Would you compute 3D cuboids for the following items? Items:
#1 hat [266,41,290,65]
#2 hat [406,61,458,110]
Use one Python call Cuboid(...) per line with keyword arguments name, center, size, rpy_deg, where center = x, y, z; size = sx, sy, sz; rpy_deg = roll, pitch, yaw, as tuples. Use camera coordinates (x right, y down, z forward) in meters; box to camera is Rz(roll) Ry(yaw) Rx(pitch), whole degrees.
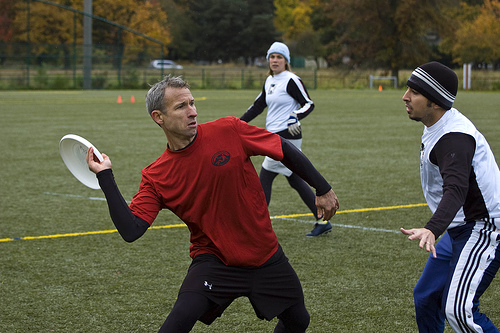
Cuboid(name="hat", center=(0.599, -2.377, 18.351), size=(0.436, 0.416, 0.442), rpy_deg=(2, 2, 6))
Cuboid(name="hat", center=(3.294, -1.449, 15.684), size=(0.912, 0.807, 0.738), rpy_deg=(19, 4, 8))
